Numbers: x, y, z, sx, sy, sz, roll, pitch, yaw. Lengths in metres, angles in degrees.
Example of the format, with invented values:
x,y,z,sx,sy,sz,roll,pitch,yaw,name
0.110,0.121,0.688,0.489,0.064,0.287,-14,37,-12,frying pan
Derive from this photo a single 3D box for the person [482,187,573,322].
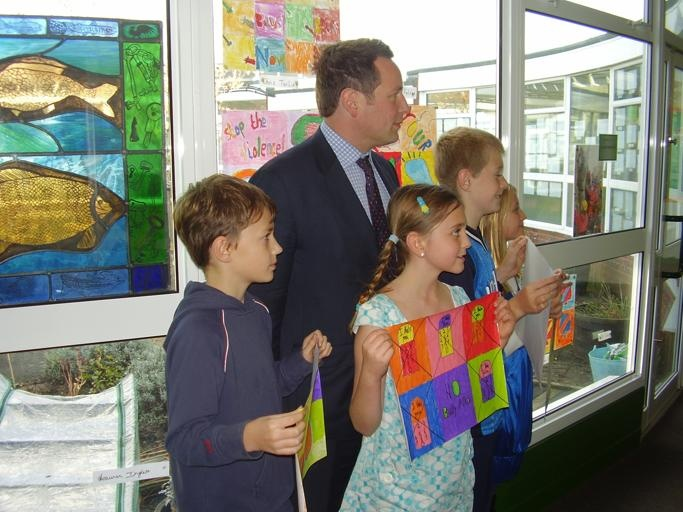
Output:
x,y,z,sx,sy,sz,roll,pitch,yaw,name
0.738,0.086,2.183,0.196,0.818,0.207,-3,-6,-11,person

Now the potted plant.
x,y,z,sx,sy,sz,roll,pitch,yaw,name
1.699,0.398,3.515,0.402,0.386,0.474,0,-1,31,potted plant
